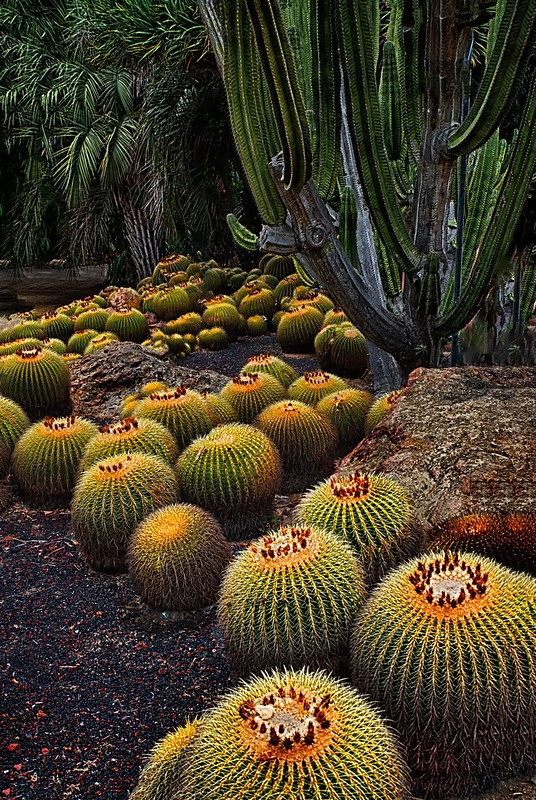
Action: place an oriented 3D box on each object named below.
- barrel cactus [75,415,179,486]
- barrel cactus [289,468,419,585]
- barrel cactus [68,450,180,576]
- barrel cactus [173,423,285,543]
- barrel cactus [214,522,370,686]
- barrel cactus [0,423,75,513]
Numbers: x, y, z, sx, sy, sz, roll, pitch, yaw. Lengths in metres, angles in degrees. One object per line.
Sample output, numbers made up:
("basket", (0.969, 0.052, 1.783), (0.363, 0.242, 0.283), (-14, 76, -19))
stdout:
("barrel cactus", (-0.665, 0.201, 3.112), (0.305, 0.246, 0.340), (5, 20, 34))
("barrel cactus", (0.288, 0.345, 2.127), (0.334, 0.379, 0.360), (-3, 14, 11))
("barrel cactus", (-0.648, 0.446, 2.870), (0.436, 0.456, 0.430), (-5, -12, -24))
("barrel cactus", (-0.180, 0.363, 3.071), (0.450, 0.512, 0.478), (-9, 17, -5))
("barrel cactus", (0.057, 0.490, 1.843), (0.369, 0.419, 0.395), (-4, 7, 24))
("barrel cactus", (-1.123, 0.335, 3.344), (0.386, 0.420, 0.379), (-7, 17, -39))
